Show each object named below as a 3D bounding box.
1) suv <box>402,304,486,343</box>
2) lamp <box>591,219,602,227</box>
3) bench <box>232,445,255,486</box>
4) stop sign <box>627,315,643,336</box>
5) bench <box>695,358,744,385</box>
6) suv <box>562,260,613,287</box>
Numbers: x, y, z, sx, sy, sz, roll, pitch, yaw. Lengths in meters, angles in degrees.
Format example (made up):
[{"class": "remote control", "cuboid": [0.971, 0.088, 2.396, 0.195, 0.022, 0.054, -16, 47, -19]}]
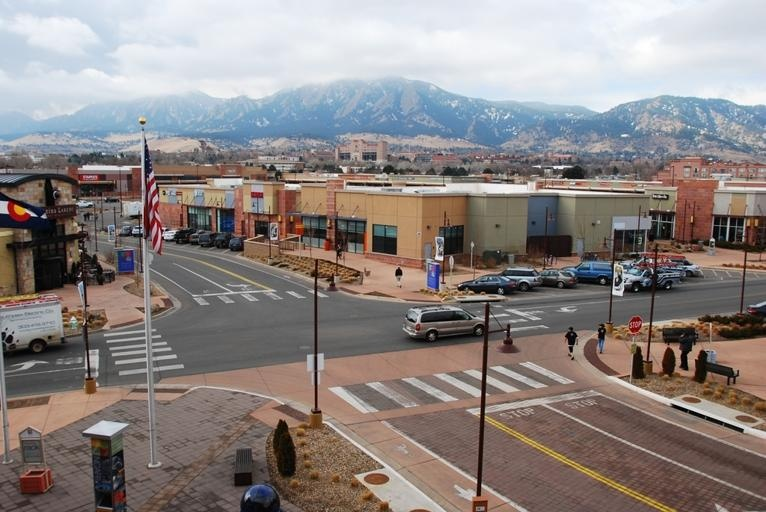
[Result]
[{"class": "suv", "cuboid": [4.099, 4.441, 44.955, 5.295, 2.101, 2.322, -5, 9, -23]}, {"class": "lamp", "cuboid": [25.428, -3.914, 78.166, 0.649, 0.828, 1.232, 1, 1, 0]}, {"class": "bench", "cuboid": [-6.072, 9.114, 28.356, 0.818, 1.228, 1.081, -2, 15, -9]}, {"class": "stop sign", "cuboid": [16.195, 4.482, 42.056, 1.558, 1.793, 0.287, -7, 10, -35]}, {"class": "bench", "cuboid": [19.369, 6.519, 37.766, 2.034, 1.308, 1.826, 10, 17, 31]}, {"class": "suv", "cuboid": [19.604, 1.643, 62.362, 4.066, 1.773, 2.059, 4, 4, 17]}]
